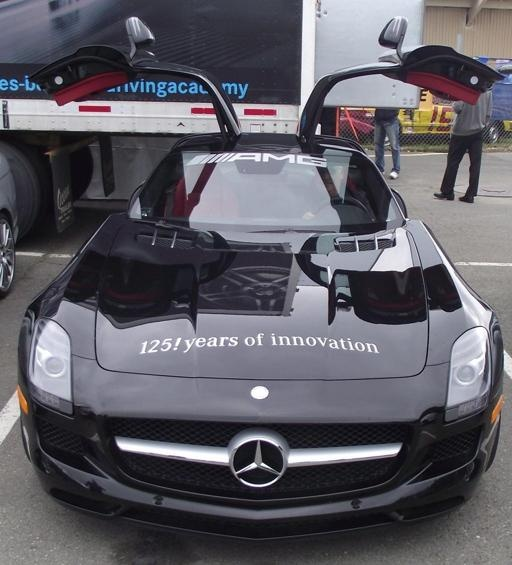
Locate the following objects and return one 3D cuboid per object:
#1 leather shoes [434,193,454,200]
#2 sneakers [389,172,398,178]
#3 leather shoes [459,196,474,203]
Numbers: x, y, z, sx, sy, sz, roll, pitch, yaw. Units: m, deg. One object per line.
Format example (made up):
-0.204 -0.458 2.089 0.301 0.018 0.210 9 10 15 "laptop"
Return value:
3.299 -1.526 9.198 0.344 0.128 0.116 13 21 16 "leather shoes"
2.889 -2.277 10.955 0.128 0.116 0.322 3 10 13 "sneakers"
3.648 -1.459 9.064 0.097 0.094 0.261 -3 16 -10 "leather shoes"
